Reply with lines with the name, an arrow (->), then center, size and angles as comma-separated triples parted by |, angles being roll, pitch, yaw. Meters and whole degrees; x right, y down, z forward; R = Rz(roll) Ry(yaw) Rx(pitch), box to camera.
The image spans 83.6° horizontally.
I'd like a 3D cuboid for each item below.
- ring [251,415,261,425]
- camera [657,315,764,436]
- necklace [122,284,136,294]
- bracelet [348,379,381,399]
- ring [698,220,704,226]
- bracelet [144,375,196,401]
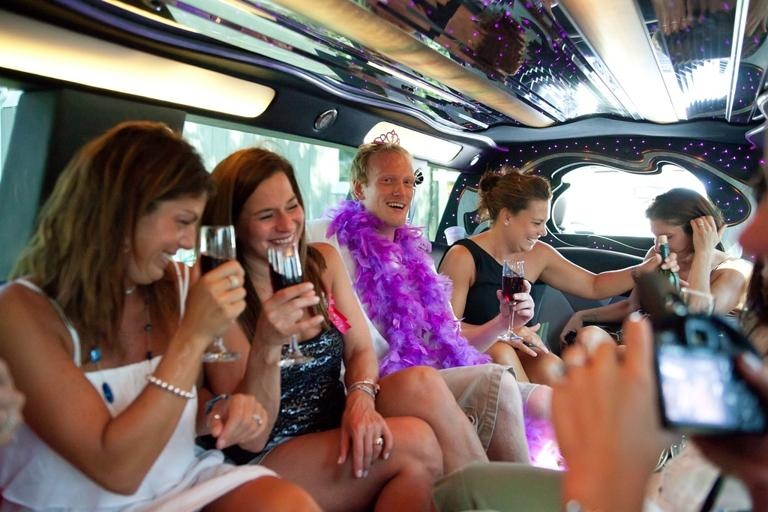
ring -> -0.393, 0.508, 1.342 | 0.027, 0.028, 0.011 | -29, 11, 34
camera -> 0.361, 0.121, 0.492 | 0.133, 0.124, 0.038 | -2, -7, 10
necklace -> -0.847, 0.113, 1.436 | 0.033, 0.008, 0.033 | -27, 22, -30
bracelet -> -0.082, 0.534, 1.751 | 0.097, 0.047, 0.080 | -8, -6, 5
ring -> 2.016, -0.210, 2.750 | 0.025, 0.031, 0.015 | -3, -14, 7
bracelet -> -0.602, 0.367, 1.219 | 0.105, 0.042, 0.080 | 29, 5, 6
